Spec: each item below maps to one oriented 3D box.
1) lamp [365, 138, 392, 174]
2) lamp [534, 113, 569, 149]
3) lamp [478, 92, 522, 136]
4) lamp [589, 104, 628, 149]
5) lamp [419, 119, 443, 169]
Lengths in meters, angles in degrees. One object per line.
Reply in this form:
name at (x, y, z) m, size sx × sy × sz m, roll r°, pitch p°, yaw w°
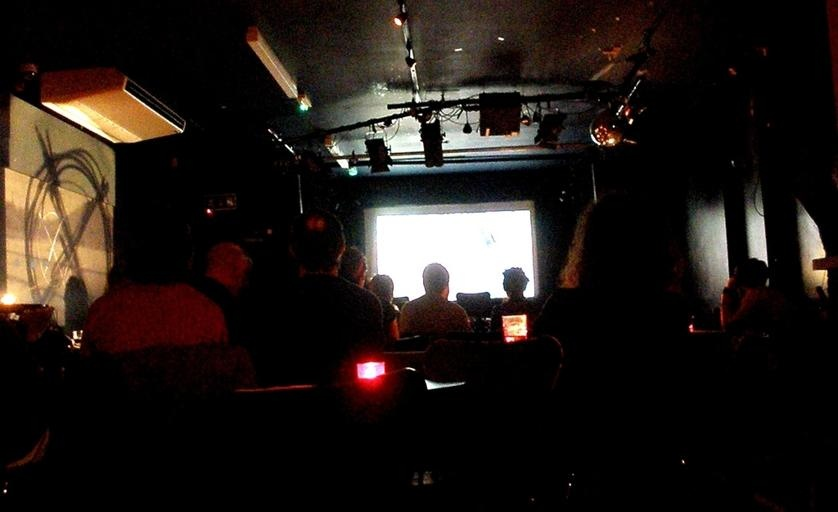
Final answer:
lamp at (-0.526, -1.313, 8.901) m, size 0.308 × 0.452 × 0.473 m, roll 0°, pitch -8°, yaw -4°
lamp at (1.565, -1.559, 8.307) m, size 0.268 × 0.390 × 0.522 m, roll -1°, pitch -8°, yaw -1°
lamp at (0.914, -1.614, 7.812) m, size 0.510 × 0.432 × 0.316 m, roll 1°, pitch 10°, yaw 3°
lamp at (2.200, -1.513, 8.167) m, size 0.441 × 0.380 × 0.403 m, roll 4°, pitch 15°, yaw 24°
lamp at (0.156, -1.428, 8.450) m, size 0.269 × 0.580 × 0.496 m, roll -1°, pitch -8°, yaw 1°
